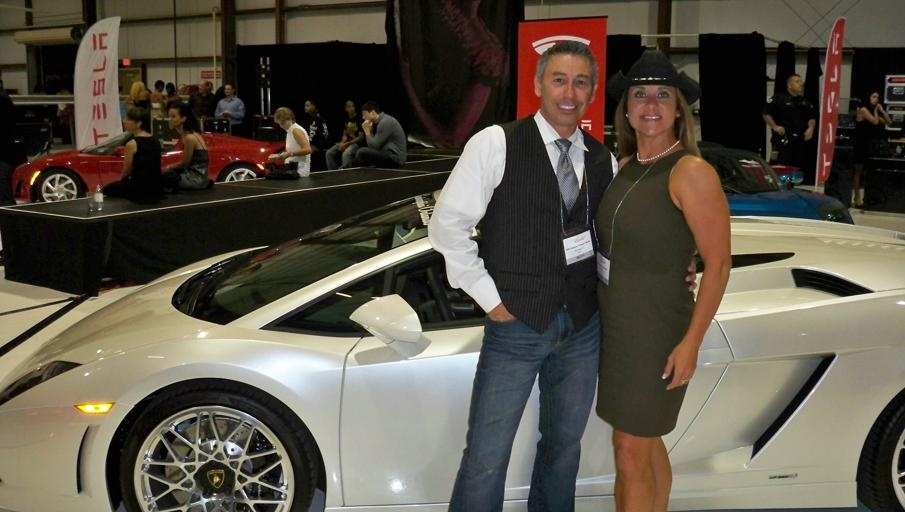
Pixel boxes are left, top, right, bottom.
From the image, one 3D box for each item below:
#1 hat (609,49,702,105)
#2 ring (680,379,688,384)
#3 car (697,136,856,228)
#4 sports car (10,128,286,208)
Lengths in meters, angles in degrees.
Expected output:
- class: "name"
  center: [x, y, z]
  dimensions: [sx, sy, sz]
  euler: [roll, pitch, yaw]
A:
- class: "hat"
  center: [1.125, -1.017, 3.702]
  dimensions: [0.563, 0.245, 0.478]
  euler: [2, 3, 11]
- class: "ring"
  center: [1.234, 0.682, 3.471]
  dimensions: [0.027, 0.033, 0.017]
  euler: [6, 45, -19]
- class: "car"
  center: [3.650, -0.753, 7.497]
  dimensions: [1.961, 0.720, 1.366]
  euler: [-4, 18, -8]
- class: "sports car"
  center: [-5.365, -1.576, 11.560]
  dimensions: [3.290, 0.965, 1.938]
  euler: [-1, 8, -9]
